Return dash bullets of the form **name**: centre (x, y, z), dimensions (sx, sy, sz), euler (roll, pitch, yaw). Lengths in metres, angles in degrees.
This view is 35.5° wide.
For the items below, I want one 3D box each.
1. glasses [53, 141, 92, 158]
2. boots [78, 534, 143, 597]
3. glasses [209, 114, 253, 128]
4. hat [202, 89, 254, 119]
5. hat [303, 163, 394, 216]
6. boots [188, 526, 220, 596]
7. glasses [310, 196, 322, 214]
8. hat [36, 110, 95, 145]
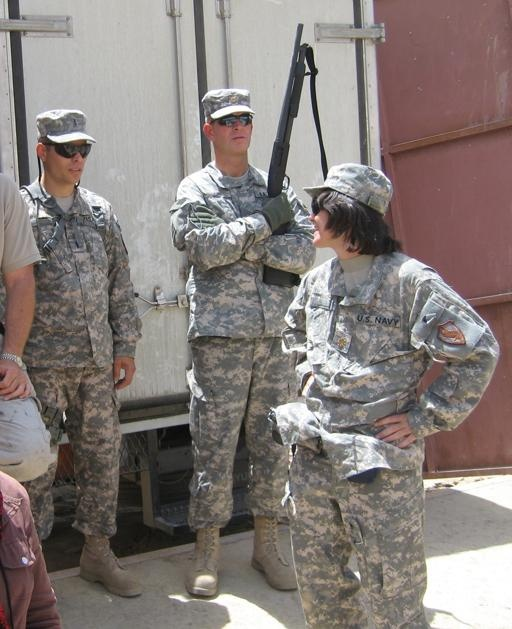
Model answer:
- **glasses**: centre (-0.707, -0.638, 3.086), dimensions (0.146, 0.059, 0.081), euler (-4, 14, -19)
- **boots**: centre (-0.586, 1.009, 3.253), dimensions (0.329, 0.212, 0.119), euler (9, 6, 33)
- **glasses**: centre (-0.099, -0.781, 3.194), dimensions (0.156, 0.049, 0.088), euler (-1, 13, -6)
- **hat**: centre (-0.120, -0.847, 3.220), dimensions (0.145, 0.088, 0.178), euler (-4, 8, -17)
- **hat**: centre (0.270, -0.374, 2.375), dimensions (0.223, 0.102, 0.154), euler (24, 8, 5)
- **boots**: centre (-0.211, 0.994, 3.284), dimensions (0.118, 0.212, 0.328), euler (5, 10, 2)
- **glasses**: centre (0.176, -0.329, 2.388), dimensions (0.038, 0.047, 0.018), euler (-1, -3, 22)
- **hat**: centre (-0.744, -0.739, 3.114), dimensions (0.175, 0.133, 0.236), euler (-7, 15, -28)
